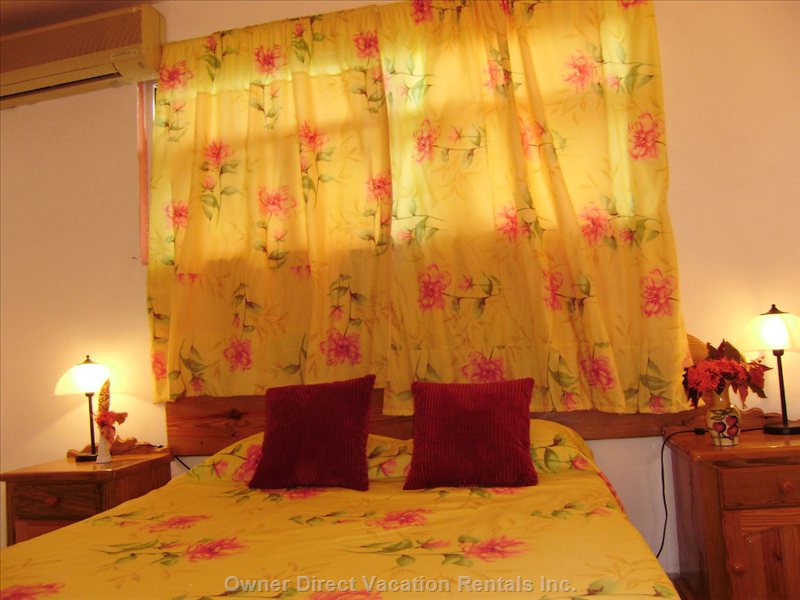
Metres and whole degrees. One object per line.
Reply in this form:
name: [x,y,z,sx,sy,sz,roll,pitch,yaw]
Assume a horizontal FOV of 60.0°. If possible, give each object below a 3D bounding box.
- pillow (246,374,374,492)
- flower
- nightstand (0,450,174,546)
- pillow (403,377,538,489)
pillow: [-0.380,0.606,3.083,0.457,0.436,0.158,-2,-23,9]
flower: [1.430,0.328,3.106,0.335,0.228,0.337,0,-9,42]
nightstand: [-1.541,0.881,3.513,0.543,0.745,0.532,-1,-5,14]
pillow: [0.300,0.572,2.997,0.561,0.481,0.196,-1,-12,6]
